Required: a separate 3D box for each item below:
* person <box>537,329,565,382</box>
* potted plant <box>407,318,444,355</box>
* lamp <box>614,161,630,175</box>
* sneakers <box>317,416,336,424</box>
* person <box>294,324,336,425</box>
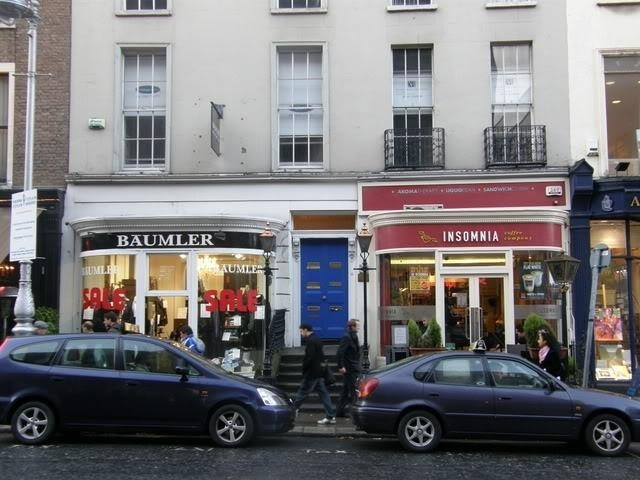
[{"bbox_3d":[4.737,2.437,18.297,0.834,1.058,0.990,0,-4,-2],"label":"person"},{"bbox_3d":[2.498,2.385,20.745,1.012,1.167,0.717,-1,-14,0],"label":"potted plant"},{"bbox_3d":[7.838,-1.875,22.414,0.342,0.341,0.095,1,8,0],"label":"lamp"},{"bbox_3d":[0.133,3.874,18.517,0.377,0.176,0.166,2,-7,5],"label":"sneakers"},{"bbox_3d":[-0.112,2.887,18.732,0.876,2.122,1.269,0,-4,0],"label":"person"}]
